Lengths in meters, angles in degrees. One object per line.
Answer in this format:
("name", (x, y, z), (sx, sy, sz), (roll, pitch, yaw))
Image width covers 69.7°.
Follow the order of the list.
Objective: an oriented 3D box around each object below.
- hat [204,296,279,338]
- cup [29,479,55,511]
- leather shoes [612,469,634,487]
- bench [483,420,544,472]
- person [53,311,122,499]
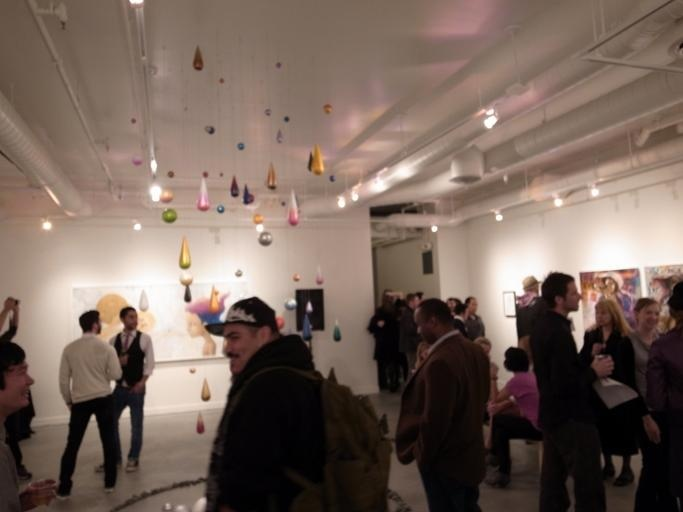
("hat", (-0.588, 0.343, 2.937), (0.367, 0.209, 0.257), (9, -14, -8))
("cup", (-1.917, 1.535, 3.182), (0.157, 0.169, 0.175), (4, -4, -22))
("leather shoes", (3.130, 2.450, 5.438), (0.310, 0.143, 0.113), (4, -13, -38))
("bench", (2.034, 2.189, 5.820), (0.609, 0.729, 0.538), (-1, -11, 32))
("person", (-2.934, 1.700, 5.702), (0.654, 2.109, 0.406), (0, -3, -30))
